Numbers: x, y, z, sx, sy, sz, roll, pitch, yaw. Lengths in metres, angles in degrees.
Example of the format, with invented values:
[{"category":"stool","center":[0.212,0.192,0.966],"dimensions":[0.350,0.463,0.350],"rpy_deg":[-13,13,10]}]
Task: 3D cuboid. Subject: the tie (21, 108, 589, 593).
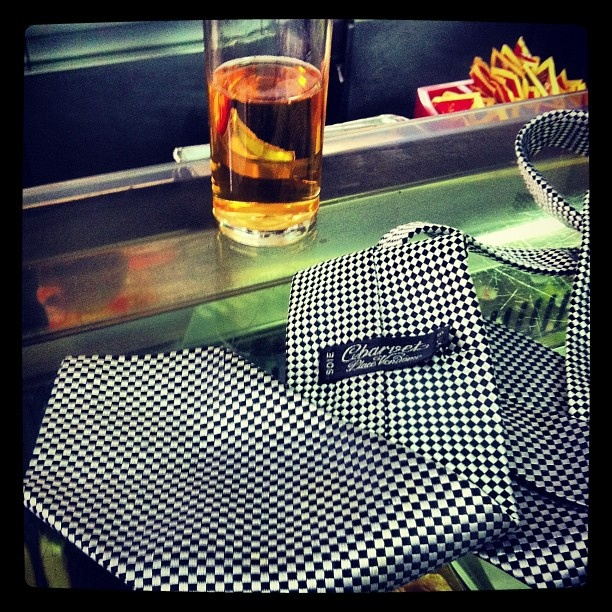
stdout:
[{"category":"tie","center":[0.009,0.034,0.310],"dimensions":[0.207,0.041,0.247],"rpy_deg":[27,52,26]}]
